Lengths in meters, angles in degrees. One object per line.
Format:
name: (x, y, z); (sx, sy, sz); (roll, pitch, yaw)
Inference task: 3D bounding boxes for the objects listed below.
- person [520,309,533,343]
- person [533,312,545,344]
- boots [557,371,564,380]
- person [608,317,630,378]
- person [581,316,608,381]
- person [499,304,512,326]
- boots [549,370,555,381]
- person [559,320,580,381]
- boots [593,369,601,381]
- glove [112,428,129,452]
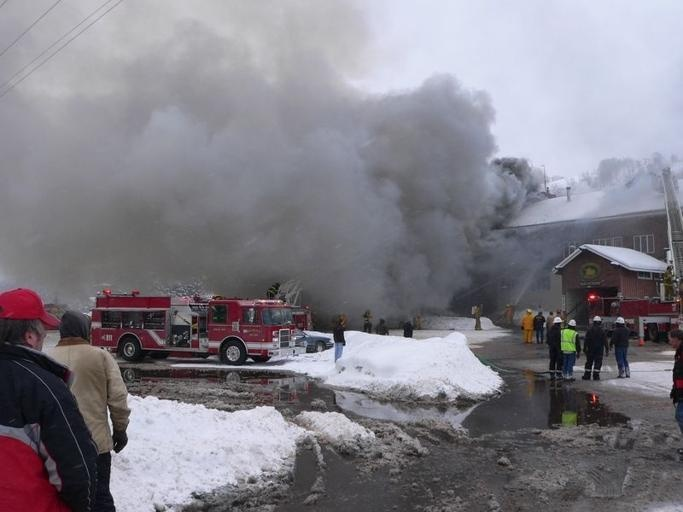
person: (8.593, 3.290, 27.499); (0.481, 1.520, 1.054); (-1, -6, 19)
person: (9.147, 3.309, 27.675); (0.414, 1.529, 1.674); (-1, -7, 18)
boots: (6.155, 3.396, 16.866); (0.162, 0.224, 0.212); (2, -9, -15)
person: (7.656, 2.488, 16.338); (0.392, 1.645, 2.129); (-1, -7, 25)
person: (6.942, 2.523, 16.439); (0.595, 1.725, 1.317); (-1, -6, 23)
person: (13.019, 4.761, 47.348); (0.762, 2.962, 1.045); (4, 4, 31)
boots: (5.912, 3.339, 16.725); (0.161, 0.203, 1.138); (-1, -8, 19)
person: (6.223, 2.562, 16.301); (0.489, 1.602, 1.348); (-1, -6, 22)
boots: (6.883, 3.223, 16.056); (0.206, 0.275, 0.225); (-1, -1, 4)
glove: (-2.220, 1.824, 5.933); (0.152, 0.230, 0.067); (1, 13, -34)
